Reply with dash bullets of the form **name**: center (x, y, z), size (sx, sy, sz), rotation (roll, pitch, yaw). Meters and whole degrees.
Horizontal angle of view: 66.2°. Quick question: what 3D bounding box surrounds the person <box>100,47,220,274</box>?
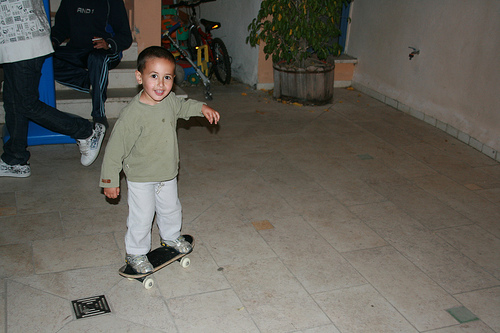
- **person**: center (-0.821, -0.044, 3.406), size (0.590, 1.908, 0.912), rotation (19, 31, 31)

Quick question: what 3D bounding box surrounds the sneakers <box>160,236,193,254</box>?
- **sneakers**: center (-0.706, 0.761, 3.679), size (0.287, 0.108, 0.155), rotation (5, 39, -8)

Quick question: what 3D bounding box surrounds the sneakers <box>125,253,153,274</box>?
- **sneakers**: center (-1.001, 0.885, 3.479), size (0.270, 0.127, 0.127), rotation (23, 32, 22)
